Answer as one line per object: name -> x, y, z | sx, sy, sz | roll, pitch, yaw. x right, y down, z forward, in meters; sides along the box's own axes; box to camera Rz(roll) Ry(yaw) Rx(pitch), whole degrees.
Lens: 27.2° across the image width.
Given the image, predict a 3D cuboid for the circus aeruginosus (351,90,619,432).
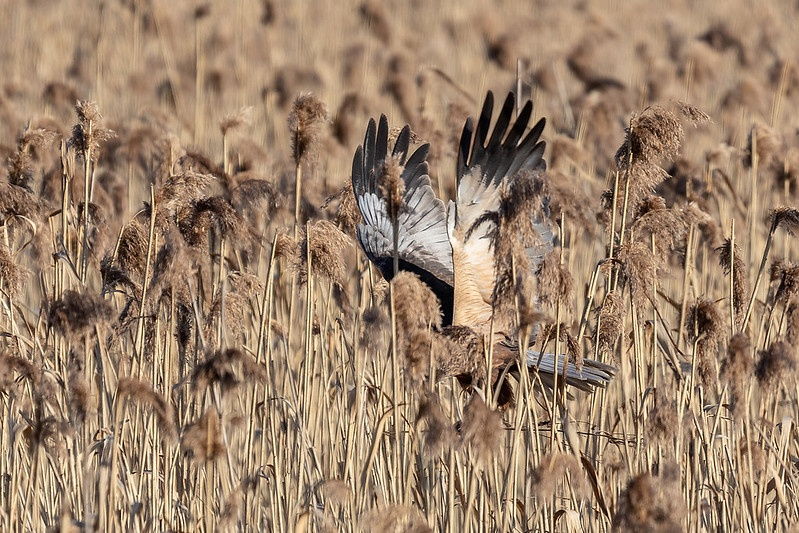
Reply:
circus aeruginosus -> 0.837, 0.132, 14.377 | 2.094, 2.875, 2.770 | -5, 78, -15
